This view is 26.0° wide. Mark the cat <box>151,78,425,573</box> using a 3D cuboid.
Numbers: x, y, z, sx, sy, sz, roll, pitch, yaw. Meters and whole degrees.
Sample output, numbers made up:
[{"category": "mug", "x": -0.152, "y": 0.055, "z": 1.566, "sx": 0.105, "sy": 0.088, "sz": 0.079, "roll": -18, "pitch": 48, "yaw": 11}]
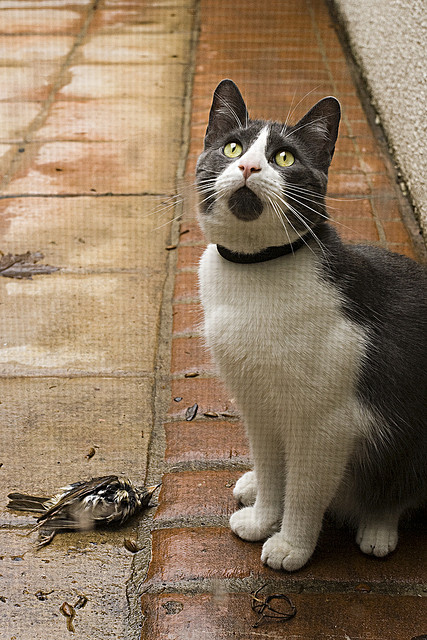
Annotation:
[{"category": "cat", "x": 0.220, "y": 0.026, "z": 1.888, "sx": 0.468, "sy": 0.868, "sz": 0.622, "roll": -5, "pitch": 40, "yaw": -2}]

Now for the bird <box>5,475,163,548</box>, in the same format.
[{"category": "bird", "x": -0.258, "y": 0.393, "z": 1.891, "sx": 0.315, "sy": 0.082, "sz": 0.102, "roll": -8, "pitch": 39, "yaw": -8}]
